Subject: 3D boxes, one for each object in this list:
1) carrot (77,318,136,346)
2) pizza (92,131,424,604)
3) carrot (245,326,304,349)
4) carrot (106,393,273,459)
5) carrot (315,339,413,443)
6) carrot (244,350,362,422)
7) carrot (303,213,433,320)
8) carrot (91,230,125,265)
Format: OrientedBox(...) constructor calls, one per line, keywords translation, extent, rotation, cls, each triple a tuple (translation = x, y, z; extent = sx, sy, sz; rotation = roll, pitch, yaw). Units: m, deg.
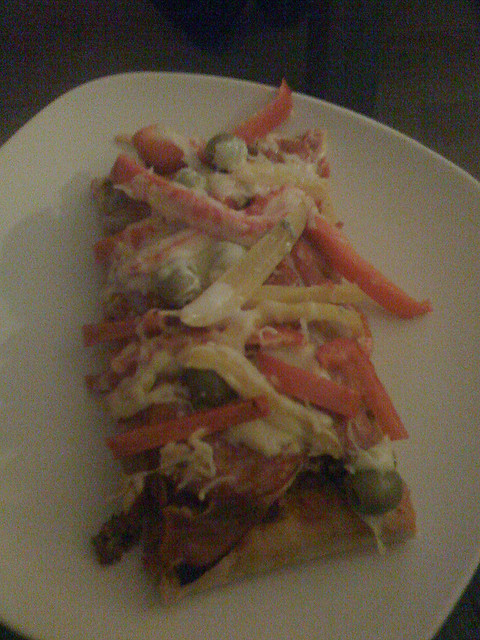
OrientedBox(translation=(-0.199, 0.023, 1.167), extent=(0.098, 0.023, 0.038), rotation=(-14, 80, 28), cls="carrot")
OrientedBox(translation=(0.016, 0.042, 1.218), extent=(0.474, 0.295, 0.698), rotation=(-5, 60, -1), cls="pizza")
OrientedBox(translation=(0.054, 0.028, 1.130), extent=(0.102, 0.027, 0.033), rotation=(-1, 61, -29), cls="carrot")
OrientedBox(translation=(-0.060, 0.151, 1.089), extent=(0.169, 0.026, 0.042), rotation=(-22, 72, 8), cls="carrot")
OrientedBox(translation=(0.173, 0.111, 1.218), extent=(0.088, 0.058, 0.220), rotation=(-32, 93, -19), cls="carrot")
OrientedBox(translation=(0.118, 0.114, 1.224), extent=(0.103, 0.385, 0.094), rotation=(4, 85, -15), cls="carrot")
OrientedBox(translation=(0.208, -0.082, 1.308), extent=(0.043, 0.053, 0.189), rotation=(-42, 88, 22), cls="carrot")
OrientedBox(translation=(-0.209, -0.115, 1.232), extent=(0.064, 0.016, 0.035), rotation=(-37, 60, 22), cls="carrot")
